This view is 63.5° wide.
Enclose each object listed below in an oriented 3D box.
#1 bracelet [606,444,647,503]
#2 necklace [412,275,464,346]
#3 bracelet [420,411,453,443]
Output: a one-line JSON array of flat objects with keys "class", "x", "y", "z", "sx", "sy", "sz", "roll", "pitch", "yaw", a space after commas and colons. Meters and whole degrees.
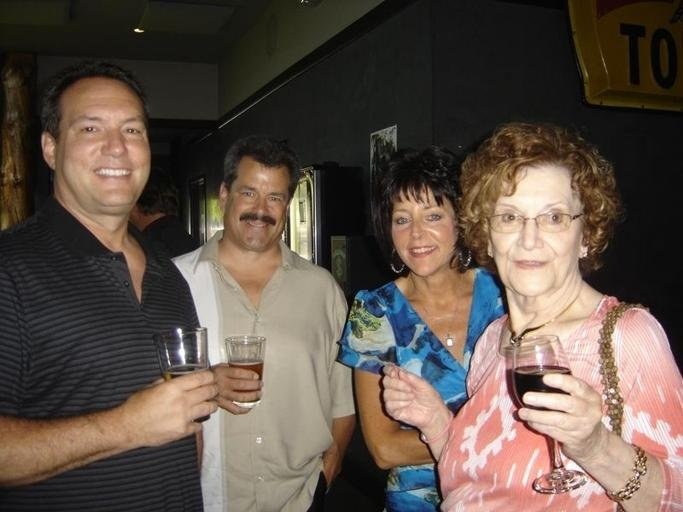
[{"class": "bracelet", "x": 0.821, "y": 0.644, "z": 1.645, "sx": 0.046, "sy": 0.147, "sz": 0.119, "roll": 17, "pitch": 28, "yaw": 21}, {"class": "necklace", "x": 0.442, "y": 0.263, "z": 2.552, "sx": 0.287, "sy": 0.276, "sz": 0.197, "roll": -8, "pitch": -4, "yaw": 43}, {"class": "bracelet", "x": 0.370, "y": 0.667, "z": 2.144, "sx": 0.111, "sy": 0.031, "sz": 0.116, "roll": -46, "pitch": -9, "yaw": 15}]
